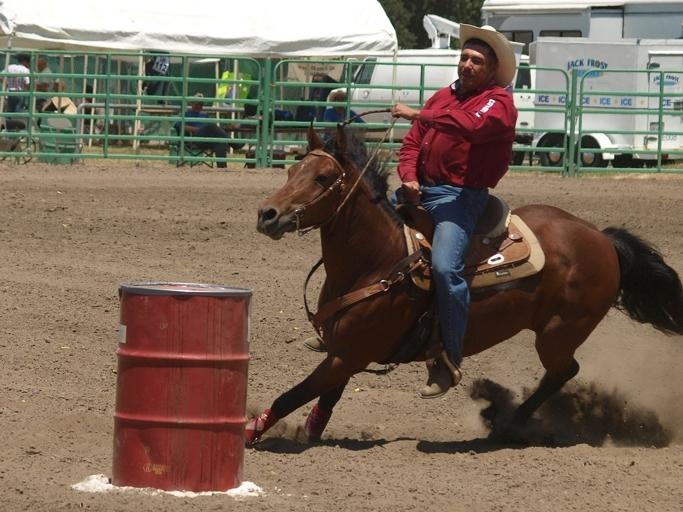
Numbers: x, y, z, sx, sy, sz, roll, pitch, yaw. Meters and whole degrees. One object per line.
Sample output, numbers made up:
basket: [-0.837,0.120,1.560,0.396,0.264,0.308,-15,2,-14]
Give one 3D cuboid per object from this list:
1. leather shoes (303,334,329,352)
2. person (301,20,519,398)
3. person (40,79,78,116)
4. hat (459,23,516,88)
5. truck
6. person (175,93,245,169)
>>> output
leather shoes: [-0.263,0.833,10.984,0.265,0.092,0.122,13,23,-18]
person: [1.030,-0.424,10.664,1.041,3.378,0.669,3,5,5]
person: [-5.244,-2.914,21.224,0.493,0.675,0.626,-24,45,-39]
hat: [1.405,-1.836,10.684,0.602,0.549,0.184,19,37,40]
truck: [1.847,-2.654,22.575,2.822,2.089,4.366,7,8,-34]
person: [-2.315,-2.138,20.022,0.943,1.319,0.745,-9,-7,41]
